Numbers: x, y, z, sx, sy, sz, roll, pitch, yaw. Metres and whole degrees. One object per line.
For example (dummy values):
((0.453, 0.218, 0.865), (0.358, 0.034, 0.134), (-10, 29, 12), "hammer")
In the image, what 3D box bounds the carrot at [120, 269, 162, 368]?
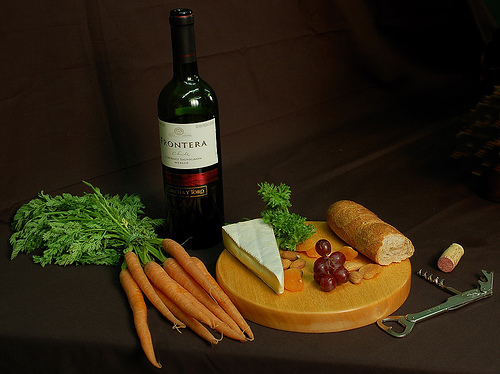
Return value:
((-0.267, 0.281, 0.980), (0.056, 0.045, 0.375), (2, 33, -27), "carrot")

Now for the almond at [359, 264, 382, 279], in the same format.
((0.280, 0.201, 1.021), (0.034, 0.009, 0.034), (-22, 23, -9), "almond")

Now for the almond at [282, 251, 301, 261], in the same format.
((0.105, 0.173, 1.090), (0.033, 0.011, 0.023), (13, 23, 37), "almond")

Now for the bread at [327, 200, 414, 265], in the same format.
((0.306, 0.106, 1.162), (0.127, 0.096, 0.284), (2, 17, -24), "bread")

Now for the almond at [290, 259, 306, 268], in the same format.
((0.121, 0.193, 1.064), (0.026, 0.009, 0.018), (-11, 11, -14), "almond")

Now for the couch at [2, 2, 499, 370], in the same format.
((-0.028, 0.052, 1.644), (1.562, 0.389, 1.454), (0, 49, -2), "couch")

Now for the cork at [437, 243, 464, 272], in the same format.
((0.551, 0.192, 1.169), (0.048, 0.046, 0.100), (13, 26, 39), "cork")

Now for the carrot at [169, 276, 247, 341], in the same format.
((-0.113, 0.283, 0.996), (0.043, 0.044, 0.261), (-27, 40, -36), "carrot")

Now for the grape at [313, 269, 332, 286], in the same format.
((0.168, 0.212, 0.997), (0.035, 0.034, 0.018), (10, 51, -50), "grape")

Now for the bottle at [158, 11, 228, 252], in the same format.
((-0.177, -0.126, 1.158), (0.201, 0.652, 0.231), (-5, 30, -5), "bottle")

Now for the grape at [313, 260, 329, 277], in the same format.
((0.164, 0.189, 0.982), (0.025, 0.034, 0.026), (41, 86, 26), "grape")

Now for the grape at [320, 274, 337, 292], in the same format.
((0.178, 0.219, 0.967), (0.023, 0.024, 0.029), (24, 39, -18), "grape")

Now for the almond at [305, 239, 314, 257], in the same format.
((0.158, 0.160, 1.118), (0.026, 0.004, 0.050), (-6, 36, 7), "almond")

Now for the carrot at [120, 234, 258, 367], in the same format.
((-0.158, 0.264, 1.011), (0.196, 0.066, 0.329), (-16, 37, -23), "carrot")

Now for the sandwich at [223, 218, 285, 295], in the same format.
((0.021, 0.162, 1.054), (0.093, 0.053, 0.192), (-14, 31, -17), "sandwich")

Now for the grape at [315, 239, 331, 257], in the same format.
((0.184, 0.152, 1.067), (0.036, 0.038, 0.044), (15, 32, -9), "grape")
